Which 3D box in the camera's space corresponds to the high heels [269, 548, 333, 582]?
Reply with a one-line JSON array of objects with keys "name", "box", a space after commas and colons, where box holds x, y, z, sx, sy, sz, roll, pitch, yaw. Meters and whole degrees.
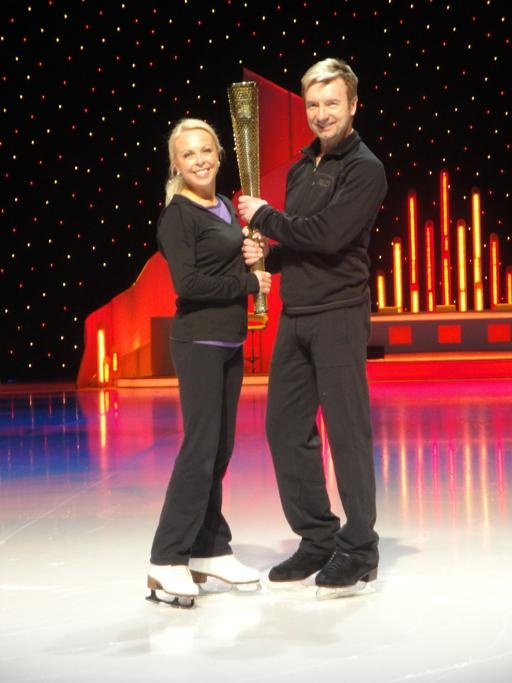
[{"name": "high heels", "box": [0.117, 0.599, 1.901, 0.199, 0.074, 0.064, -2, 0, -33]}]

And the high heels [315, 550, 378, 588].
[{"name": "high heels", "box": [0.226, 0.577, 1.756, 0.089, 0.077, 0.166, -4, -3, 36]}]

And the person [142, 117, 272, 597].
[{"name": "person", "box": [-0.146, 0.028, 1.823, 0.361, 1.241, 0.272, -1, -3, -33]}]

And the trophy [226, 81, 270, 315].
[{"name": "trophy", "box": [0.017, -0.424, 2.098, 0.109, 0.721, 0.107, -8, 10, -10]}]

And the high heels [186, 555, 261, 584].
[{"name": "high heels", "box": [-0.090, 0.596, 1.860, 0.210, 0.083, 0.073, -3, -7, 17]}]
